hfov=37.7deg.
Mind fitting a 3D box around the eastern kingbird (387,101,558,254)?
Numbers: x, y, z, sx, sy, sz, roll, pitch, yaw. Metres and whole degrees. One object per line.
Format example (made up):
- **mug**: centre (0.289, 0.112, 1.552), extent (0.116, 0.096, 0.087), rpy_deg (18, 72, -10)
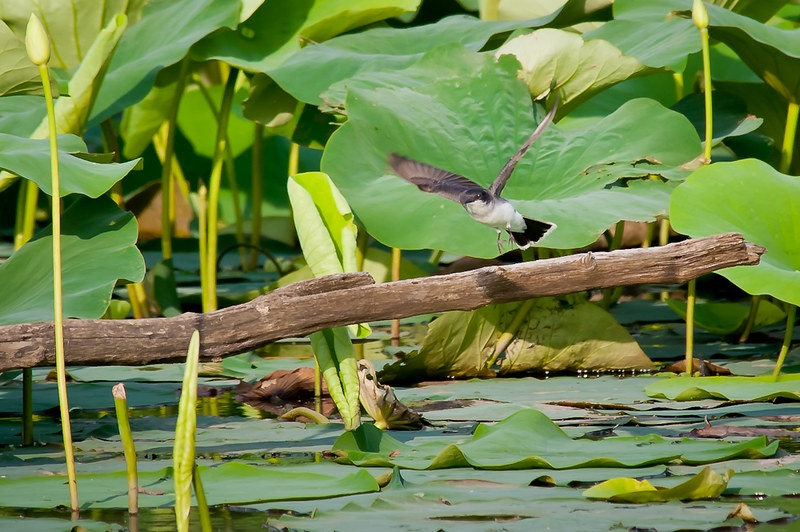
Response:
- **eastern kingbird**: centre (0.261, -0.270, 3.928), extent (0.537, 0.423, 0.421), rpy_deg (-5, 2, 20)
